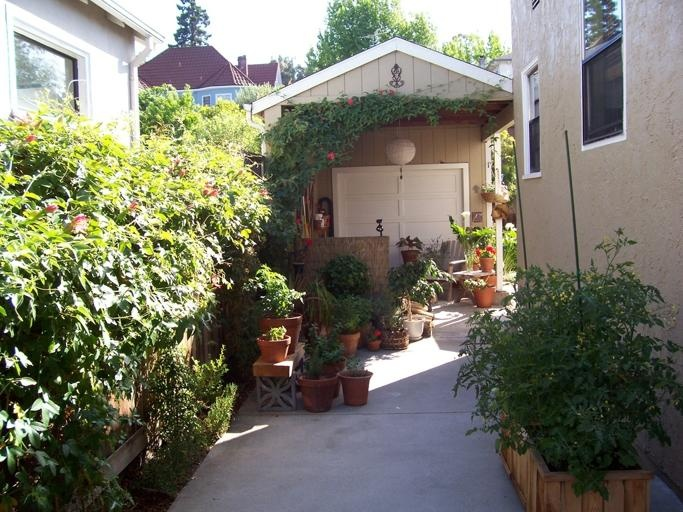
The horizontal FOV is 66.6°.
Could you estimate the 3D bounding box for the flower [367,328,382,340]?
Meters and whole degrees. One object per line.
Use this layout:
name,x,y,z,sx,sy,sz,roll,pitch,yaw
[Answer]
flower,0.450,1.062,7.032,0.101,0.150,0.134,22,-18,-24

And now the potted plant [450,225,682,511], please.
potted plant,1.464,0.702,3.213,1.239,1.698,1.229,1,6,21

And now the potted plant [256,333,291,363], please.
potted plant,-0.633,0.865,4.867,0.219,0.184,0.251,0,-1,9

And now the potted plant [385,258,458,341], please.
potted plant,0.941,0.633,7.470,0.481,1.097,0.998,4,8,41

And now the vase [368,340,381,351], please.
vase,0.439,1.196,6.977,0.118,0.107,0.135,-3,0,10

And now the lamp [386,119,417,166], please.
lamp,1.151,-2.187,10.165,0.577,0.845,1.458,0,6,8

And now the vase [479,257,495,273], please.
vase,2.676,0.177,9.527,0.220,0.222,0.239,0,-1,31

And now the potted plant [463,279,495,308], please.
potted plant,2.485,0.656,9.286,0.434,0.431,0.495,0,-5,-6

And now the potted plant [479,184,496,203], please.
potted plant,2.739,-1.156,9.752,0.259,0.351,0.302,1,2,28

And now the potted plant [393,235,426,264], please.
potted plant,1.387,-0.143,10.525,0.442,0.688,0.584,-1,3,-5

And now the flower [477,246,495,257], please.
flower,2.737,-0.069,9.814,0.207,0.168,0.216,0,-5,17
